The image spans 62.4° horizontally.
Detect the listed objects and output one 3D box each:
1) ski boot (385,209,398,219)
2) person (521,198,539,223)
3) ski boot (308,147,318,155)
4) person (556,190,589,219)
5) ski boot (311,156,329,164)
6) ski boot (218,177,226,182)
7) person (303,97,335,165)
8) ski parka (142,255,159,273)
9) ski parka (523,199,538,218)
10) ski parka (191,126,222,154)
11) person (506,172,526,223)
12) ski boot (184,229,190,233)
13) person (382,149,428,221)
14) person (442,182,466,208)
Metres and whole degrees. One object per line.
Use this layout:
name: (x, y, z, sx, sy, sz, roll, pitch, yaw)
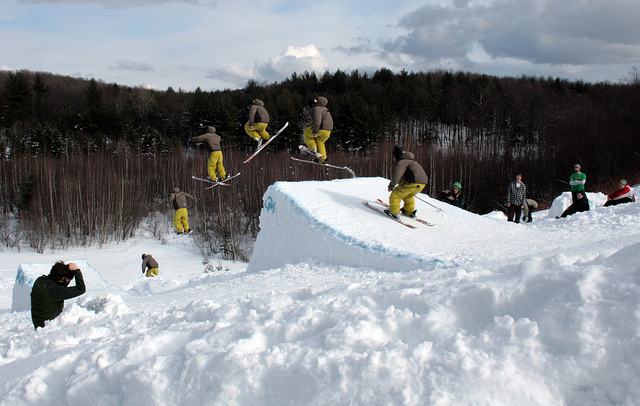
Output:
ski boot: (2.335, 0.374, 17.278, 0.210, 0.078, 0.295, 16, 15, -44)
person: (9.302, 0.382, 23.395, 0.542, 1.124, 2.147, 4, 13, 14)
ski boot: (-0.223, -2.014, 20.393, 0.435, 0.187, 0.135, 42, 37, 16)
person: (10.173, 0.009, 20.936, 0.919, 0.923, 0.734, -5, 10, 26)
ski boot: (0.005, -1.659, 20.578, 0.681, 0.301, 0.214, 2, 8, 38)
ski boot: (-4.382, -1.056, 23.447, 0.237, 0.117, 0.439, 14, 0, -8)
person: (0.002, -2.744, 20.099, 0.818, 2.564, 1.097, -18, 12, -43)
ski parka: (-6.871, 2.453, 21.136, 0.585, 0.689, 0.482, -13, 10, -20)
ski parka: (9.244, 0.226, 23.284, 0.299, 0.772, 1.955, -4, 11, 32)
ski parka: (-4.424, -2.647, 21.700, 1.645, 1.085, 0.474, -15, 15, -41)
person: (8.306, -0.193, 22.357, 0.756, 1.980, 1.431, -6, 10, 20)
ski boot: (-6.532, 1.420, 25.842, 0.267, 0.156, 0.396, -12, 9, -16)
person: (2.736, -0.567, 17.324, 1.334, 2.257, 1.116, -13, 10, -25)
person: (5.650, -0.317, 21.974, 0.728, 0.892, 1.063, -7, 9, 13)
